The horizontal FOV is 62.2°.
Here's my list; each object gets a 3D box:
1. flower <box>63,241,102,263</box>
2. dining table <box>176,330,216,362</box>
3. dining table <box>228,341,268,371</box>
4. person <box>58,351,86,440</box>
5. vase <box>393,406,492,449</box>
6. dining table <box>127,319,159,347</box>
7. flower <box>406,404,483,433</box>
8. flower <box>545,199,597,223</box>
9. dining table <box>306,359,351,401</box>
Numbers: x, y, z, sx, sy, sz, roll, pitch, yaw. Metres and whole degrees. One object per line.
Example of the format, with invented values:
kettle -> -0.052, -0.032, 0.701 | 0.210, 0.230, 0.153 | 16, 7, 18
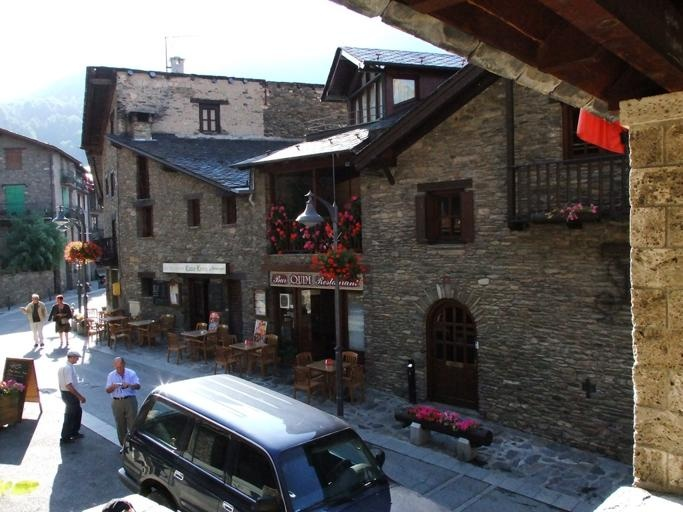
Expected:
flower -> -11.186, -0.199, 24.454 | 1.249, 0.908, 1.186 | -2, 4, -32
dining table -> -4.691, 2.969, 19.045 | 1.329, 1.042, 1.223 | 6, 6, 37
dining table -> -2.750, 2.835, 16.834 | 1.104, 0.954, 1.125 | -3, -3, 45
person -> -5.502, 2.892, 11.516 | 0.578, 1.840, 0.985 | 1, 8, -16
vase -> 2.025, 3.471, 11.380 | 2.063, 0.623, 0.513 | 4, 7, 43
dining table -> -7.561, 2.922, 21.560 | 0.956, 1.082, 1.059 | 7, 7, 42
flower -> 1.962, 3.270, 11.567 | 0.503, 0.397, 1.850 | 2, -3, -43
flower -> 4.502, -0.861, 10.956 | 0.392, 0.417, 0.962 | -5, 6, -39
dining table -> -0.400, 2.981, 14.177 | 1.138, 0.949, 1.134 | -1, 5, -32
